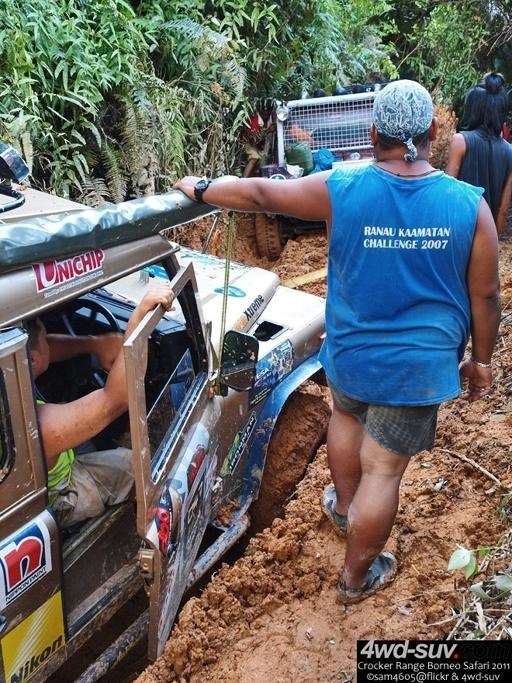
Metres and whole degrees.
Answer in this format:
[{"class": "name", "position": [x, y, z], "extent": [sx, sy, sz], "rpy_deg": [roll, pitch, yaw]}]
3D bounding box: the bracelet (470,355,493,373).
[{"class": "bracelet", "position": [0.920, 0.096, 2.172], "extent": [0.076, 0.027, 0.059], "rpy_deg": [12, 9, 37]}]

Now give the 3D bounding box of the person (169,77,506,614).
[{"class": "person", "position": [0.406, 0.090, 2.118], "extent": [0.873, 2.030, 0.619], "rpy_deg": [12, 27, 30]}]

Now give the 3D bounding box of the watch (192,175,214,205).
[{"class": "watch", "position": [-0.209, -0.566, 2.016], "extent": [0.068, 0.095, 0.088], "rpy_deg": [14, -19, 5]}]

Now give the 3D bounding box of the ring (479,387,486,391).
[{"class": "ring", "position": [0.949, 0.200, 2.228], "extent": [0.016, 0.015, 0.005], "rpy_deg": [-9, 62, 5]}]

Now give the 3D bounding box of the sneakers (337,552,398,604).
[{"class": "sneakers", "position": [0.505, 1.020, 2.354], "extent": [0.305, 0.115, 0.146], "rpy_deg": [-39, 50, -24]}]

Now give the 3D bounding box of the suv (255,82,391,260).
[{"class": "suv", "position": [0.930, -2.523, 7.635], "extent": [1.784, 1.528, 2.453], "rpy_deg": [2, 46, 8]}]

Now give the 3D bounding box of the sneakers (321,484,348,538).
[{"class": "sneakers", "position": [0.373, 0.836, 2.621], "extent": [0.088, 0.223, 0.181], "rpy_deg": [-2, -14, -4]}]
